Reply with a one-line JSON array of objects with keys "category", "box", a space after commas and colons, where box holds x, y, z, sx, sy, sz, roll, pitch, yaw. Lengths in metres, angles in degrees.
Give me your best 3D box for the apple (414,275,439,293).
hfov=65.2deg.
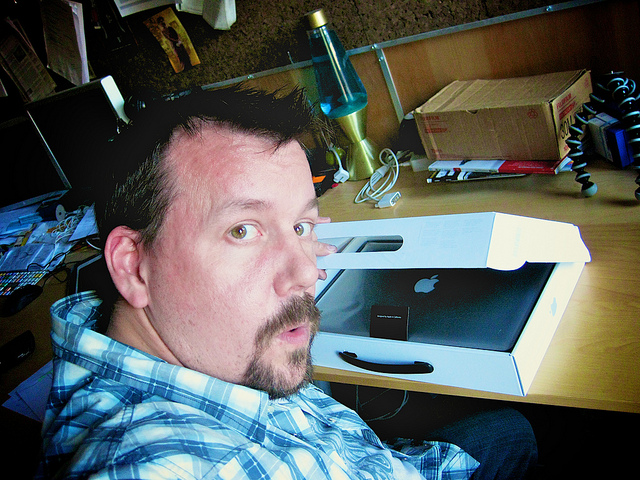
[{"category": "apple", "box": [0.219, 0.090, 1.029, 0.046, 0.019, 0.048, -4, 16, 17]}]
